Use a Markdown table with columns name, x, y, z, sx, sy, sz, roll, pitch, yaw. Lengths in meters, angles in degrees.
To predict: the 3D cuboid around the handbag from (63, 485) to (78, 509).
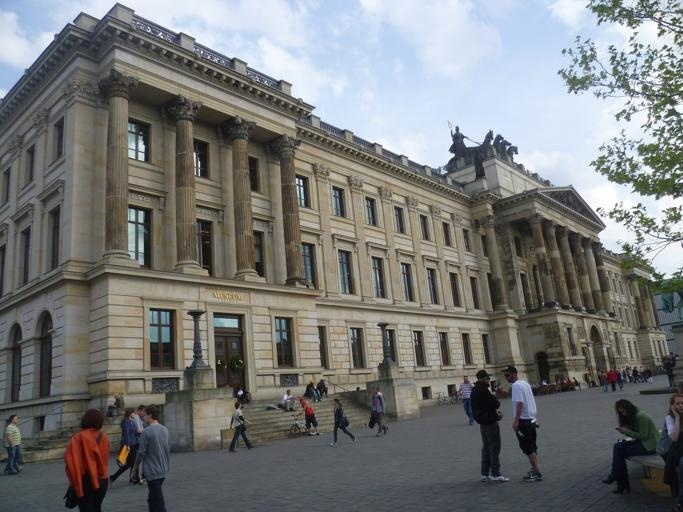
| name | x | y | z | sx | sy | sz | roll | pitch | yaw |
| --- | --- | --- | --- | --- | --- | --- | --- | --- | --- |
| handbag | -4.216 | 3.723 | 7.673 | 0.169 | 0.354 | 0.676 | 3 | -19 | -28 |

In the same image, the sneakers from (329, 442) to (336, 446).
| name | x | y | z | sx | sy | sz | roll | pitch | yaw |
| --- | --- | --- | --- | --- | --- | --- | --- | --- | --- |
| sneakers | -0.360 | 7.463 | 19.707 | 0.138 | 0.170 | 0.406 | -12 | -31 | 22 |

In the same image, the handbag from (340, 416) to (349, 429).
| name | x | y | z | sx | sy | sz | roll | pitch | yaw |
| --- | --- | --- | --- | --- | --- | --- | --- | --- | --- |
| handbag | 0.077 | 6.805 | 20.361 | 0.263 | 0.467 | 0.895 | -5 | -17 | -4 |

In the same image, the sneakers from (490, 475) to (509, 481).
| name | x | y | z | sx | sy | sz | roll | pitch | yaw |
| --- | --- | --- | --- | --- | --- | --- | --- | --- | --- |
| sneakers | 3.317 | 4.658 | 10.388 | 0.361 | 0.146 | 0.132 | -1 | -19 | 2 |

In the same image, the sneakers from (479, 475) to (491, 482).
| name | x | y | z | sx | sy | sz | roll | pitch | yaw |
| --- | --- | --- | --- | --- | --- | --- | --- | --- | --- |
| sneakers | 3.069 | 4.733 | 10.564 | 0.118 | 0.123 | 0.294 | -5 | -26 | 13 |

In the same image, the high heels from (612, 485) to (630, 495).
| name | x | y | z | sx | sy | sz | roll | pitch | yaw |
| --- | --- | --- | --- | --- | --- | --- | --- | --- | --- |
| high heels | 5.148 | 4.277 | 9.066 | 0.366 | 0.173 | 0.121 | 2 | -21 | 3 |

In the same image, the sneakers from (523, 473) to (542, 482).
| name | x | y | z | sx | sy | sz | roll | pitch | yaw |
| --- | --- | --- | --- | --- | --- | --- | --- | --- | --- |
| sneakers | 3.984 | 4.588 | 10.312 | 0.398 | 0.198 | 0.163 | -2 | -16 | 8 |

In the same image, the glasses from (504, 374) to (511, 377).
| name | x | y | z | sx | sy | sz | roll | pitch | yaw |
| --- | --- | --- | --- | --- | --- | --- | --- | --- | --- |
| glasses | 3.580 | 2.553 | 10.661 | 0.086 | 0.029 | 0.081 | 27 | -33 | -30 |
